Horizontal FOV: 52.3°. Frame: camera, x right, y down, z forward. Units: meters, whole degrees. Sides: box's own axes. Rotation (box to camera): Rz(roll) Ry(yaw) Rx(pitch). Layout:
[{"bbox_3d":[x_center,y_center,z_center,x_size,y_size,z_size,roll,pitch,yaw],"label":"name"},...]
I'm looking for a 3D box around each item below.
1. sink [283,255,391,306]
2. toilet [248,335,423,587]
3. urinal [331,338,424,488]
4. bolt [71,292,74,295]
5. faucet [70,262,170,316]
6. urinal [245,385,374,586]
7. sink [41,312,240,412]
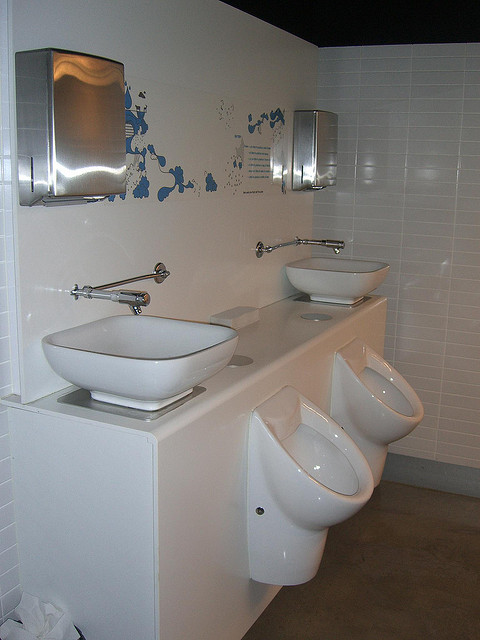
[{"bbox_3d":[0.463,-0.174,2.531,0.435,0.213,0.544,-7,14,-12],"label":"sink"},{"bbox_3d":[0.341,0.519,1.767,0.236,0.434,0.835,2,14,22],"label":"toilet"},{"bbox_3d":[0.605,0.441,2.197,0.382,0.603,0.403,13,23,19],"label":"urinal"},{"bbox_3d":[-0.421,-0.069,1.234,0.007,0.007,0.002,7,-5,-23],"label":"bolt"},{"bbox_3d":[-0.297,-0.059,1.240,0.201,0.078,0.147,0,41,13],"label":"faucet"},{"bbox_3d":[0.228,0.537,1.515,0.328,0.549,0.383,2,13,13],"label":"urinal"},{"bbox_3d":[-0.220,0.084,1.161,0.437,0.127,0.386,6,9,28],"label":"sink"}]
